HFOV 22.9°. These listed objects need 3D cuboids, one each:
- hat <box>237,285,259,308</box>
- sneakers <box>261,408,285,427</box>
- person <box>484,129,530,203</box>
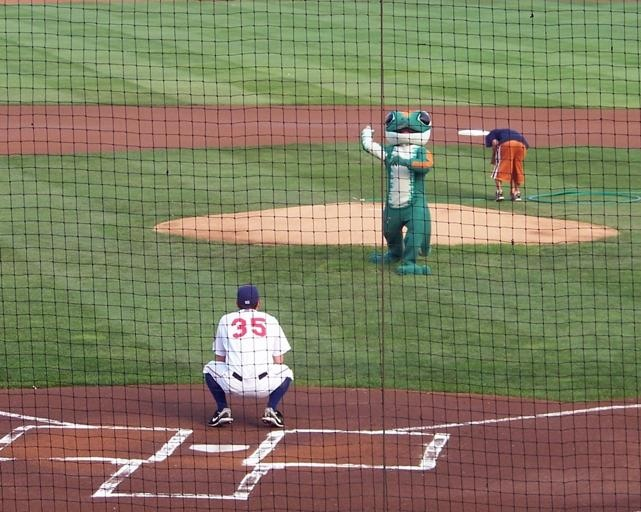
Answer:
[{"bbox_3d":[-1.023,0.595,22.935,0.349,0.184,0.441,5,-33,1],"label":"hat"},{"bbox_3d":[-0.642,2.333,22.779,0.186,0.161,0.401,-1,-8,23],"label":"sneakers"},{"bbox_3d":[3.792,-1.869,32.093,0.817,1.421,1.332,1,7,5],"label":"person"}]
